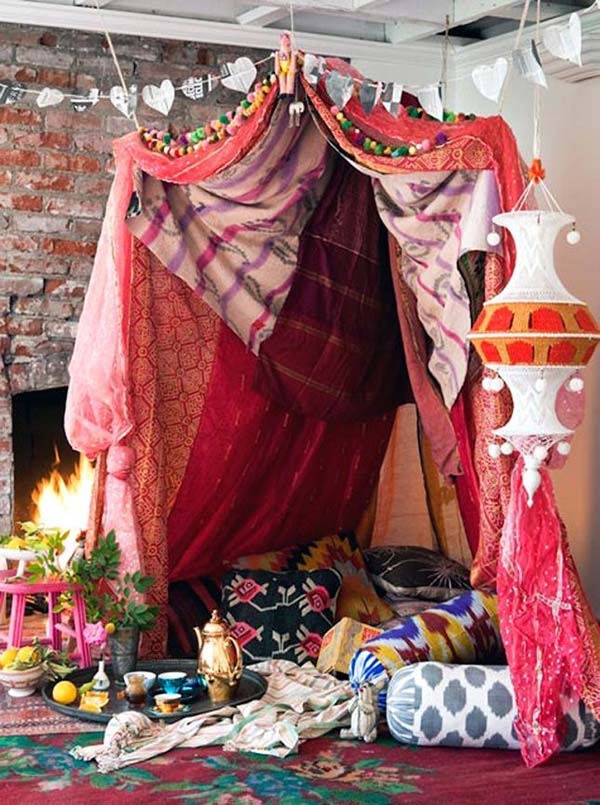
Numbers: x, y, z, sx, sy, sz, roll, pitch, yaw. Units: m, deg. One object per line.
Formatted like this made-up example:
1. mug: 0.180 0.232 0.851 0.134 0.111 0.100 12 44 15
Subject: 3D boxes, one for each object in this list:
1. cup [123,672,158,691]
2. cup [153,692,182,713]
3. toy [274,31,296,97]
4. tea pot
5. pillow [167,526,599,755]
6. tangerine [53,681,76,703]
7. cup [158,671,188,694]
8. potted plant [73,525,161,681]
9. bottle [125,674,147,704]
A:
1. cup: -0.445 0.763 2.129 0.080 0.037 0.075 0 -1 0
2. cup: -0.366 0.806 2.074 0.055 0.029 0.050 1 2 0
3. toy: -0.039 -0.964 2.188 0.061 0.171 0.102 3 3 4
4. tea pot: -0.254 0.713 2.196 0.181 0.244 0.103 5 3 45
5. pillow: 0.246 0.717 2.507 0.828 0.341 1.332 0 3 -42
6. tangerine: -0.659 0.815 2.145 0.073 0.056 0.061 0 -2 7
7. cup: -0.358 0.775 2.127 0.081 0.044 0.071 4 -10 -10
8. potted plant: -0.588 0.623 2.424 0.257 0.392 0.411 2 2 -15
9. bottle: -0.447 0.780 2.095 0.058 0.071 0.053 2 2 0
